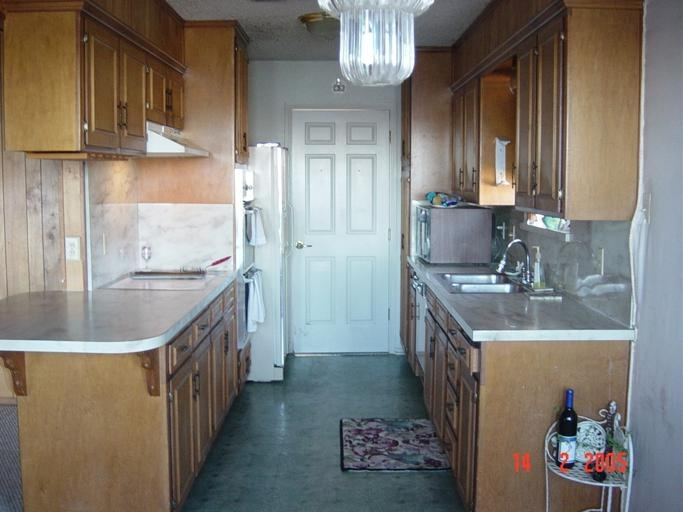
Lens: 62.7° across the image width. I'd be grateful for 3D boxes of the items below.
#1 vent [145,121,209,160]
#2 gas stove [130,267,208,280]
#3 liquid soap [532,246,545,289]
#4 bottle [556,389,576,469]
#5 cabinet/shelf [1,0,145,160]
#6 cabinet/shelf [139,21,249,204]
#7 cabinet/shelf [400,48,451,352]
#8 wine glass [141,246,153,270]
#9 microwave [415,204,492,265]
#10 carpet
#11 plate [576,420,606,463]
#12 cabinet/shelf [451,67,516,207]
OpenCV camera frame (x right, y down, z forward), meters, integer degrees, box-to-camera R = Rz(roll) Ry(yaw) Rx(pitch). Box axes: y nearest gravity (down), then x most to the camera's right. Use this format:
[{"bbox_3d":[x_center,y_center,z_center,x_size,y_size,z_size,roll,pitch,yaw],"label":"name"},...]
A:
[{"bbox_3d":[-1.148,-0.784,3.787,0.200,0.147,0.372,31,17,19],"label":"vent"},{"bbox_3d":[-1.279,0.132,4.139,0.557,0.045,0.300,0,9,-1],"label":"gas stove"},{"bbox_3d":[1.273,0.085,3.632,0.082,0.280,0.072,-2,-3,27],"label":"liquid soap"},{"bbox_3d":[1.074,0.815,2.667,0.092,0.357,0.154,4,10,22],"label":"bottle"},{"bbox_3d":[-1.468,-0.939,2.976,0.320,0.616,0.929,0,6,-5],"label":"cabinet/shelf"},{"bbox_3d":[-1.220,-1.092,4.602,0.597,1.612,0.924,-13,29,-34],"label":"cabinet/shelf"},{"bbox_3d":[0.781,-0.882,5.077,0.527,1.916,0.283,-13,15,-29],"label":"cabinet/shelf"},{"bbox_3d":[-1.501,0.007,4.282,0.076,0.166,0.034,-2,10,-13],"label":"wine glass"},{"bbox_3d":[0.953,-0.034,4.744,0.521,0.483,0.774,0,-17,6],"label":"microwave"},{"bbox_3d":[0.326,1.267,3.820,0.693,0.036,0.714,1,9,-1],"label":"carpet"},{"bbox_3d":[1.186,0.891,2.670,0.128,0.182,0.113,4,10,22],"label":"plate"},{"bbox_3d":[1.126,-0.876,4.482,0.370,0.939,1.023,-2,10,0],"label":"cabinet/shelf"}]
